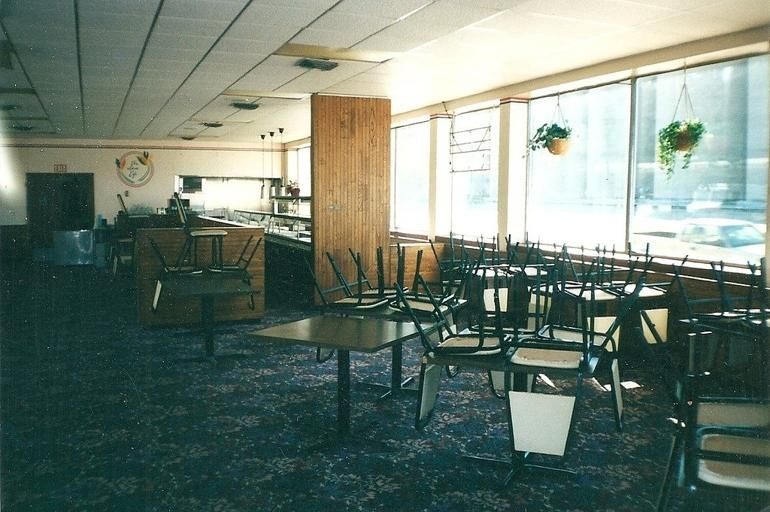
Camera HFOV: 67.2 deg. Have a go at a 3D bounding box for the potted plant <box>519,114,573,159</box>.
[{"bbox_3d":[2.250,-1.585,7.963,0.642,0.435,0.885,-2,3,-8],"label":"potted plant"}]

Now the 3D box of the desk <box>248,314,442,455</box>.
[{"bbox_3d":[-0.199,0.949,5.155,1.280,0.693,1.260,3,5,31],"label":"desk"}]

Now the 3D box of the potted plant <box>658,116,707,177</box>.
[{"bbox_3d":[3.538,-1.291,6.859,0.704,0.566,0.869,2,4,19],"label":"potted plant"}]

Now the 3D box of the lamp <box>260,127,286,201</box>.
[{"bbox_3d":[-3.140,-2.458,16.176,0.780,1.840,2.060,-3,14,-9],"label":"lamp"}]

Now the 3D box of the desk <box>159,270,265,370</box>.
[{"bbox_3d":[-2.177,0.680,7.123,1.283,1.058,1.167,-2,26,-18],"label":"desk"}]
